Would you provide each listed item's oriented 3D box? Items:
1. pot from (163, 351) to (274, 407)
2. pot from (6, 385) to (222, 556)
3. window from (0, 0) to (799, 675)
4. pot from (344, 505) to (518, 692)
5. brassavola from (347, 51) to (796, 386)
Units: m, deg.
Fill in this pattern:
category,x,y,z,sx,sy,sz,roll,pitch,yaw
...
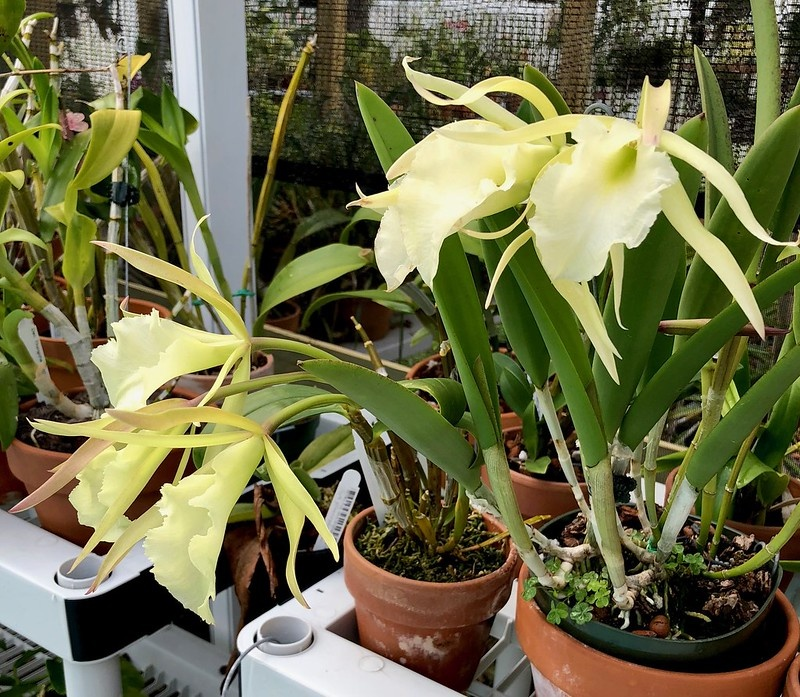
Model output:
category,x,y,z,sx,sy,sz,roll,pitch,yaw
pot,-0.230,0.019,0.961,0.094,0.080,0.098,-3,26,1
pot,-0.334,0.159,0.877,0.206,0.180,0.227,4,20,-2
window,0.066,0.027,0.583,0.417,0.424,0.459,9,34,23
pot,0.024,0.204,0.633,0.128,0.116,0.135,2,17,-1
brassavola,0.089,-0.072,0.380,0.214,0.143,0.130,8,19,15
